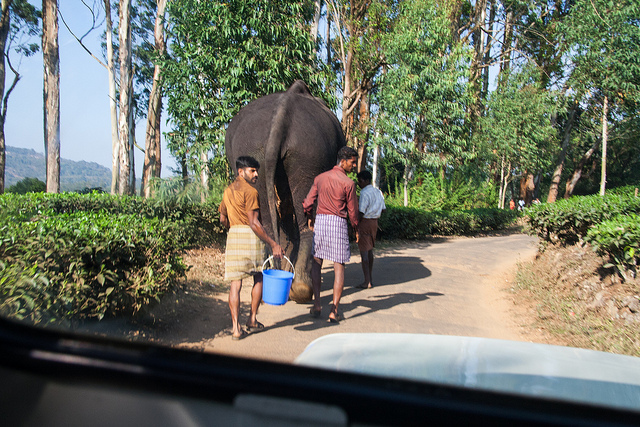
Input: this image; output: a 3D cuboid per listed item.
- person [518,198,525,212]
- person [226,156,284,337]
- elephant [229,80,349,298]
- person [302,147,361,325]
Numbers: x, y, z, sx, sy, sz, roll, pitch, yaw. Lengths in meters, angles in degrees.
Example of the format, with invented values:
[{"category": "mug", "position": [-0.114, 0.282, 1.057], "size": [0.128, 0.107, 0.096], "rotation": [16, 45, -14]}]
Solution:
[{"category": "person", "position": [12.749, -0.577, 30.429], "size": [0.308, 1.158, 0.526], "rotation": [-3, 1, -5]}, {"category": "person", "position": [-0.929, 0.427, 6.278], "size": [0.645, 2.317, 0.324], "rotation": [4, -3, -12]}, {"category": "elephant", "position": [-0.505, -0.838, 10.181], "size": [1.910, 3.647, 6.041], "rotation": [2, 12, 4]}, {"category": "person", "position": [0.175, 0.278, 7.093], "size": [0.778, 2.573, 0.532], "rotation": [3, -3, -2]}]
